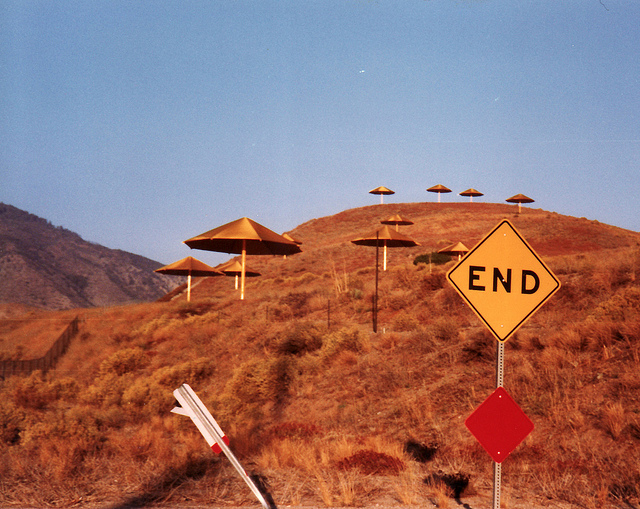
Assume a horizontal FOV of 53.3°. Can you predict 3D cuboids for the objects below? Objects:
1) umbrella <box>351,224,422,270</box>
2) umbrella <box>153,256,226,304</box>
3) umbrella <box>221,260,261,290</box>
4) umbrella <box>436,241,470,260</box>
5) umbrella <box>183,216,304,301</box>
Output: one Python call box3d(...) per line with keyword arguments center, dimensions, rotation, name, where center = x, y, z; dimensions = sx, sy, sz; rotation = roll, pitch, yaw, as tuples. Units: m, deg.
box3d(center=(2.336, -0.281, 23.364), dimensions=(2.104, 1.665, 2.230), rotation=(18, -1, -4), name="umbrella")
box3d(center=(-5.814, 0.937, 28.611), dimensions=(2.174, 1.871, 2.269), rotation=(5, 7, 9), name="umbrella")
box3d(center=(-4.322, 0.889, 32.794), dimensions=(1.775, 1.666, 1.901), rotation=(2, -3, 5), name="umbrella")
box3d(center=(6.311, -0.195, 30.306), dimensions=(1.318, 0.697, 1.422), rotation=(-4, -1, 4), name="umbrella")
box3d(center=(-2.383, -0.026, 19.690), dimensions=(2.740, 1.846, 3.090), rotation=(13, -22, -35), name="umbrella")
